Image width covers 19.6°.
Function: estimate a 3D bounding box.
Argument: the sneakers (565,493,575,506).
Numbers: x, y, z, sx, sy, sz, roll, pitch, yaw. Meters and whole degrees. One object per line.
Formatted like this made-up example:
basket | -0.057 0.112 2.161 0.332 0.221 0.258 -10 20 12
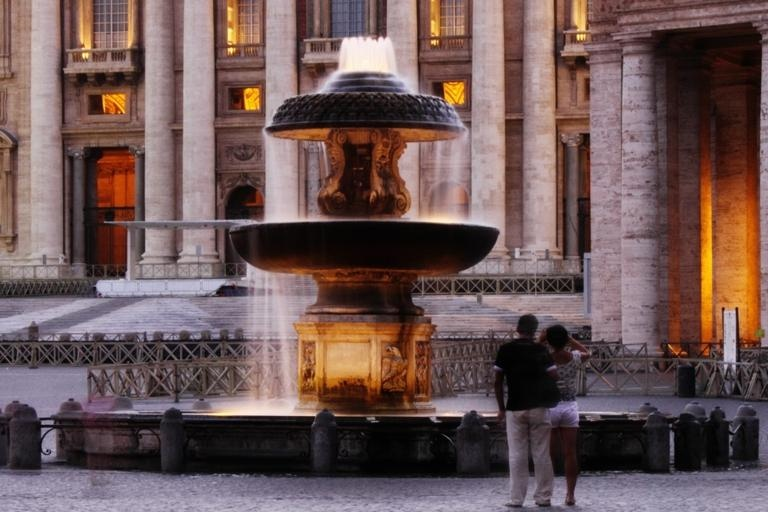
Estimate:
sneakers | 3.885 5.107 46.384 0.203 0.228 0.300 -1 -2 5
